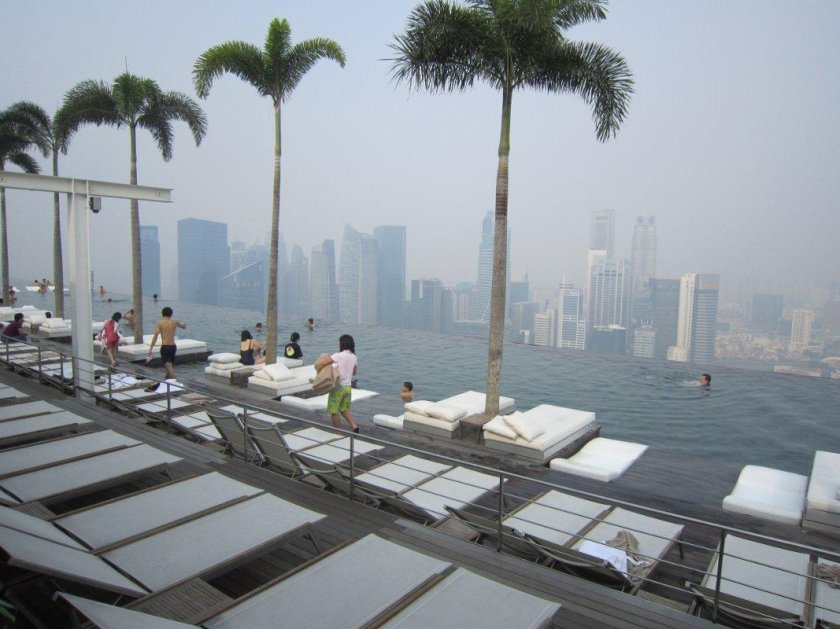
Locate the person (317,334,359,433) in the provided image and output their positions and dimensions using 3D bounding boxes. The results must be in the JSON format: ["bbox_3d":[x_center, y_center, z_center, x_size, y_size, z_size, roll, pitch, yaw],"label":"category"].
[{"bbox_3d":[-1.459,1.193,10.137,0.676,1.811,1.419,0,5,-6],"label":"person"}]

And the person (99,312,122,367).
[{"bbox_3d":[-8.157,0.634,14.775,0.441,1.552,2.367,-2,5,-28],"label":"person"}]

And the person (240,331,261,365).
[{"bbox_3d":[-4.543,0.847,14.919,0.453,0.839,0.938,-1,5,-18],"label":"person"}]
